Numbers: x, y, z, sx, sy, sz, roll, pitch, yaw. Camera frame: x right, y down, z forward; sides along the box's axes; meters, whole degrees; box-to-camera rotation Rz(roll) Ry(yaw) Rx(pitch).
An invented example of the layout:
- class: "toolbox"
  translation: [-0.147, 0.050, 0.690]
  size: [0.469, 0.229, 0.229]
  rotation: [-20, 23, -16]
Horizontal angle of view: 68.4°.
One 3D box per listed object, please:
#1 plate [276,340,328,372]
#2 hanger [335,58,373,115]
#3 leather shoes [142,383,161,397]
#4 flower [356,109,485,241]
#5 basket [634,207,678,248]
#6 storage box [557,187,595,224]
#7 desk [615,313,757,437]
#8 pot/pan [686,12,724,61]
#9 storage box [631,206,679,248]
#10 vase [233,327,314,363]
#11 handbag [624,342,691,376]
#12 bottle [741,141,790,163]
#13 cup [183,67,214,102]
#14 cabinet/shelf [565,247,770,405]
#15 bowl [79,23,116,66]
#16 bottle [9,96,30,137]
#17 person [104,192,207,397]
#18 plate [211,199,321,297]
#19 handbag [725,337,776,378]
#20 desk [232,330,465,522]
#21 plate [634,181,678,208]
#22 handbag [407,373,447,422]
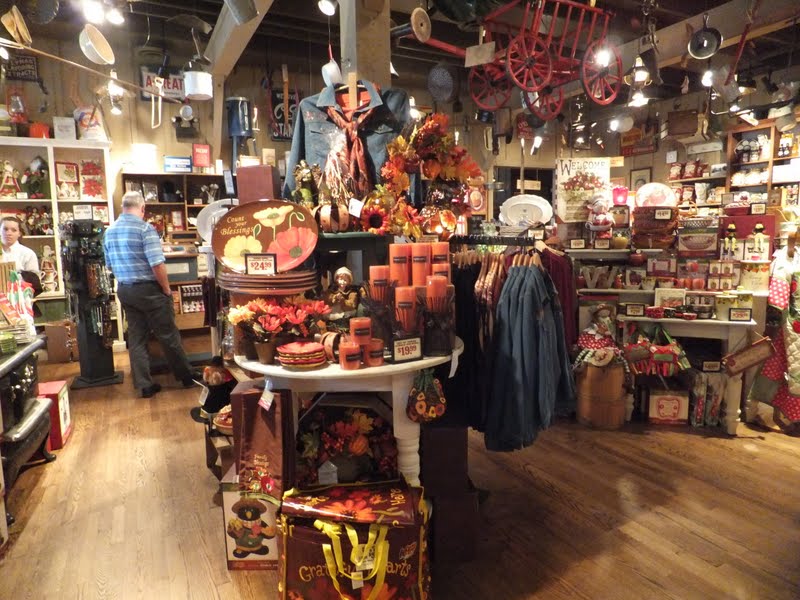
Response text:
- class: "plate"
  translation: [-0.558, 0.309, 3.344]
  size: [0.295, 0.144, 0.169]
  rotation: [-5, 8, -14]
- class: "hanger"
  translation: [-0.322, -1.422, 4.048]
  size: [0.167, 0.270, 0.209]
  rotation: [-7, 9, -30]
- class: "leather shoes"
  translation: [-2.578, 0.925, 6.088]
  size: [0.078, 0.125, 0.194]
  rotation: [12, 26, 18]
- class: "flower"
  translation: [0.034, -0.881, 4.020]
  size: [0.627, 0.933, 0.779]
  rotation: [-18, 27, -33]
- class: "basket"
  translation: [2.350, -0.661, 5.480]
  size: [0.356, 0.377, 0.363]
  rotation: [-1, 5, -27]
- class: "storage box"
  translation: [1.705, -0.931, 5.704]
  size: [0.268, 0.390, 0.519]
  rotation: [0, 8, 10]
- class: "desk"
  translation: [2.598, 0.589, 5.379]
  size: [1.158, 1.199, 0.811]
  rotation: [0, -3, 6]
- class: "pot/pan"
  translation: [3.089, -2.678, 5.964]
  size: [0.289, 0.386, 0.217]
  rotation: [1, 9, 29]
- class: "storage box"
  translation: [2.347, -0.685, 5.436]
  size: [0.357, 0.389, 0.373]
  rotation: [1, 3, 16]
- class: "vase"
  translation: [-0.808, 0.257, 3.422]
  size: [0.309, 0.125, 0.257]
  rotation: [1, 3, 16]
- class: "handbag"
  translation: [2.239, 0.491, 5.123]
  size: [0.405, 0.190, 0.323]
  rotation: [-4, 11, -15]
- class: "bottle"
  translation: [5.158, -2.128, 8.390]
  size: [0.330, 0.128, 0.338]
  rotation: [20, 9, -3]
- class: "cup"
  translation: [-2.289, -2.387, 6.545]
  size: [0.390, 0.322, 0.410]
  rotation: [0, 11, 0]
- class: "cabinet/shelf"
  translation: [2.416, 0.250, 5.212]
  size: [1.295, 1.348, 0.447]
  rotation: [0, 1, 7]
- class: "bowl"
  translation: [-2.803, -2.338, 5.311]
  size: [0.234, 0.330, 0.405]
  rotation: [-3, 8, -3]
- class: "bottle"
  translation: [-4.623, -2.236, 7.091]
  size: [0.145, 0.496, 0.126]
  rotation: [-2, 8, 9]
- class: "person"
  translation: [-2.624, -0.076, 6.067]
  size: [0.724, 2.085, 0.376]
  rotation: [-6, 8, -23]
- class: "plate"
  translation: [-0.808, -0.330, 3.512]
  size: [0.561, 0.620, 0.210]
  rotation: [6, -5, -1]
- class: "handbag"
  translation: [2.925, 0.467, 4.893]
  size: [0.356, 0.266, 0.120]
  rotation: [-29, -16, 7]
- class: "desk"
  translation: [-0.320, 0.530, 3.339]
  size: [0.893, 0.715, 0.948]
  rotation: [-3, 7, -23]
- class: "plate"
  translation: [2.393, -0.991, 5.529]
  size: [0.336, 0.235, 0.354]
  rotation: [0, 9, 22]
- class: "handbag"
  translation: [0.153, 0.536, 3.436]
  size: [0.249, 0.346, 0.097]
  rotation: [-7, 15, -22]
